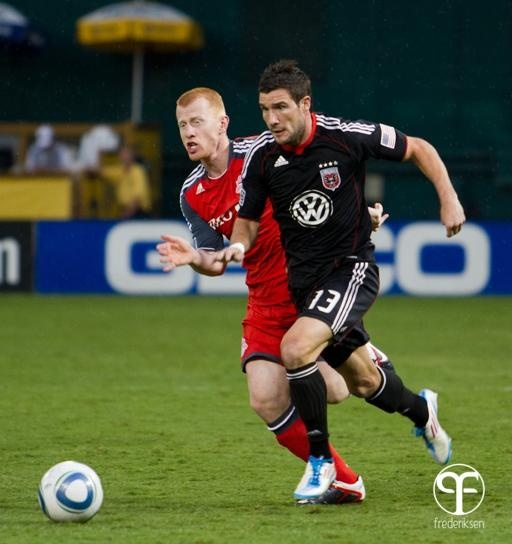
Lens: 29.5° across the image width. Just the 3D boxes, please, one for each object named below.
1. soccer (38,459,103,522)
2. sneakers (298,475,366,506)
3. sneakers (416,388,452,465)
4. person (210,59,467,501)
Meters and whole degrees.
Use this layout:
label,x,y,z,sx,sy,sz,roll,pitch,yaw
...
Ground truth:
label,x,y,z,sx,sy,sz,roll,pitch,yaw
soccer,-0.737,0.902,3.917,0.271,0.252,0.267,-11,-22,11
sneakers,0.351,0.952,4.221,0.322,0.111,0.106,0,-2,-13
sneakers,0.896,0.803,4.923,0.161,0.333,0.121,-18,-2,-44
person,0.360,-0.002,4.363,1.033,1.842,0.766,-8,16,-35
